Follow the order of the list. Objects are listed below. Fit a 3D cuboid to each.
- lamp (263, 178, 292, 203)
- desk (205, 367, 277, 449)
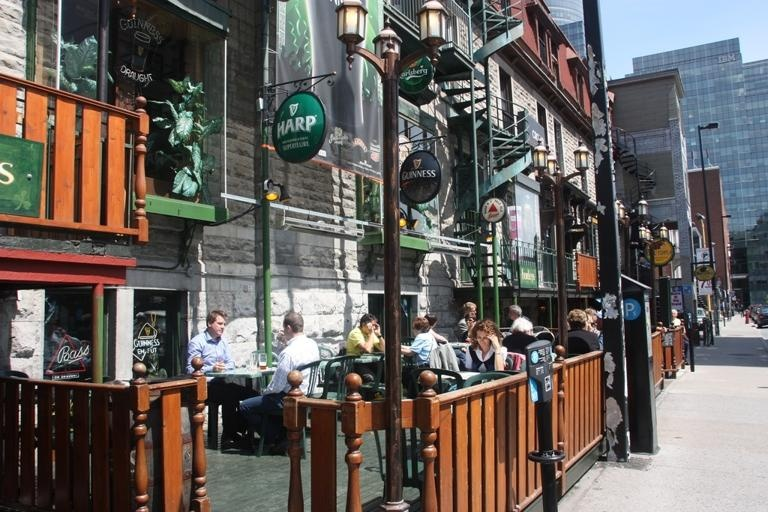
[{"bbox_3d":[-2.111,-1.238,14.720,0.356,0.482,0.588,10,29,-15],"label":"lamp"},{"bbox_3d":[-2.463,2.359,12.501,1.160,1.247,1.220,-2,-5,31],"label":"desk"}]
